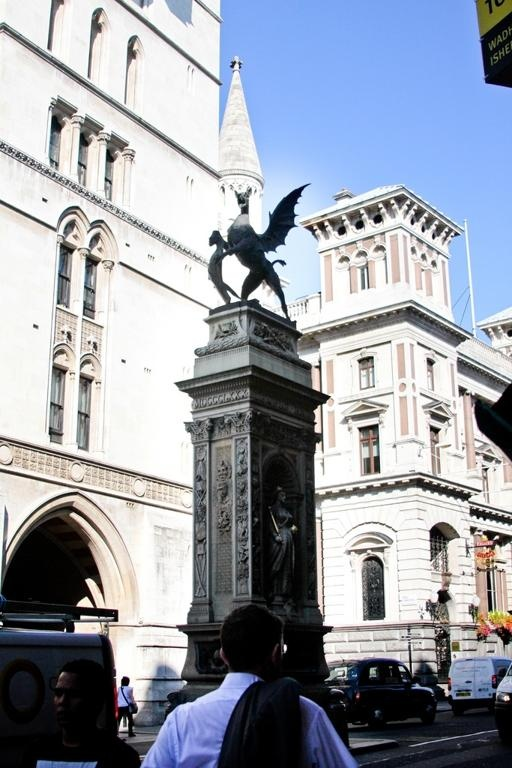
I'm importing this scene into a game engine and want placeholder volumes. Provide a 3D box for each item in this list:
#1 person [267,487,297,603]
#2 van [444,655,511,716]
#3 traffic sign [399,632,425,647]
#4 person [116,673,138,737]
[{"bbox_3d":[0.452,2.945,18.043,0.475,2.083,0.712,-1,-14,2],"label":"person"},{"bbox_3d":[7.037,9.422,31.168,1.427,1.410,2.559,-12,-22,30],"label":"van"},{"bbox_3d":[6.142,10.063,38.992,0.640,0.681,0.151,13,-10,-13],"label":"traffic sign"},{"bbox_3d":[-2.958,7.234,22.389,0.413,1.282,0.421,1,9,-5],"label":"person"}]
